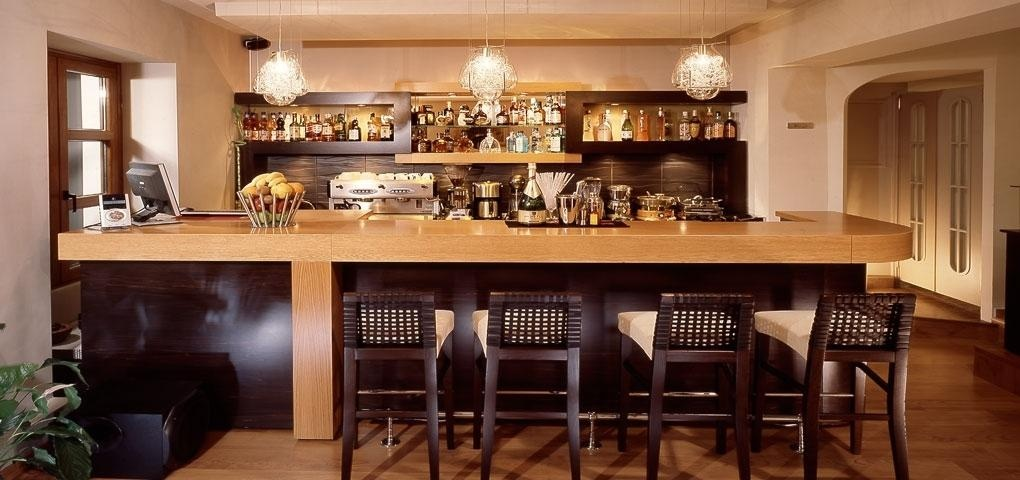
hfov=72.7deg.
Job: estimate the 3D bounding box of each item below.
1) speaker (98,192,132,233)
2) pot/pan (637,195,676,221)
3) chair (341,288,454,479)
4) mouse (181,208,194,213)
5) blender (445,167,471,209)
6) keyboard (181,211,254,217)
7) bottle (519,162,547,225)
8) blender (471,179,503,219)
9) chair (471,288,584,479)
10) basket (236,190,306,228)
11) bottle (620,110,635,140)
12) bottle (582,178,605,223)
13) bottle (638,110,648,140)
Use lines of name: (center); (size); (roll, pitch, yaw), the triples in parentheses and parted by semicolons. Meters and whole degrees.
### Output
speaker: (-4.158, -0.304, 7.300); (0.330, 0.347, 0.151); (-5, 3, -29)
pot/pan: (2.125, -0.468, 10.065); (0.591, 0.264, 0.500); (0, 6, 4)
chair: (-1.080, 1.355, 6.752); (1.097, 1.816, 0.757); (-1, 5, -4)
mouse: (-3.836, -0.361, 8.303); (0.159, 0.061, 0.186); (1, 3, 0)
blender: (-0.756, -0.780, 10.111); (0.369, 0.629, 0.366); (-1, 5, -4)
keyboard: (-3.428, -0.291, 8.106); (0.674, 0.072, 0.042); (-1, -10, 2)
bottle: (0.243, -0.510, 7.463); (0.307, 0.641, 0.342); (-1, 5, 6)
blender: (-0.313, -0.591, 10.076); (0.435, 0.532, 0.409); (-1, 5, -2)
chair: (0.168, 1.366, 6.687); (1.047, 1.804, 0.618); (-1, 5, 2)
basket: (-2.486, -0.339, 7.394); (0.551, 0.199, 0.476); (0, 6, -2)
bottle: (1.690, -1.650, 9.956); (0.198, 0.440, 0.208); (-1, 5, 0)
bottle: (0.916, -0.435, 7.618); (0.177, 0.495, 0.480); (0, 5, 10)
bottle: (1.916, -1.660, 9.972); (0.157, 0.455, 0.182); (0, 5, 9)
